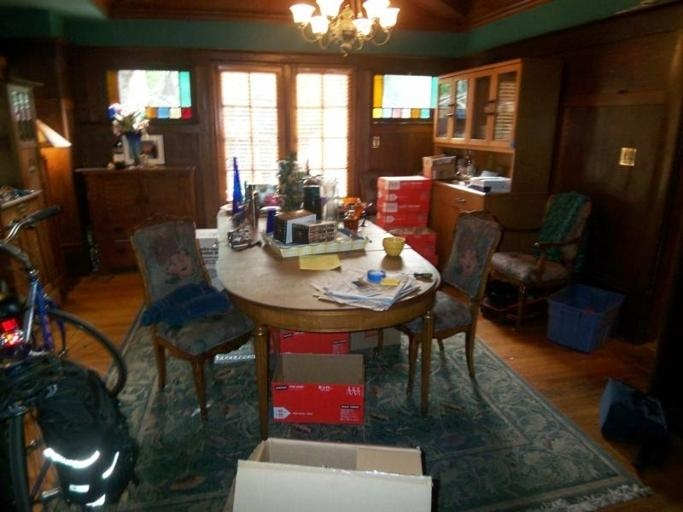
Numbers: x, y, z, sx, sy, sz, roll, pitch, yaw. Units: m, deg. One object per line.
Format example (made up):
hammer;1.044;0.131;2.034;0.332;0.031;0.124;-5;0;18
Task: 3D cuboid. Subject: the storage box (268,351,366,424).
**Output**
storage box;-0.146;0.888;3.432;0.671;0.321;0.444;1;18;1

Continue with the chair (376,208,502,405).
chair;0.729;0.272;3.865;0.810;1.209;0.756;-1;15;-8

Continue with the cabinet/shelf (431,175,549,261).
cabinet/shelf;1.474;-0.377;4.942;0.431;0.766;0.823;-2;16;-11

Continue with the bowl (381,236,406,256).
bowl;0.386;-0.079;3.794;0.144;0.102;0.145;0;6;0

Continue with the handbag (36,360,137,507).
handbag;-1.326;0.914;2.633;0.483;0.676;0.214;-22;15;-35

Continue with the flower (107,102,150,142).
flower;-2.389;-1.529;5.798;0.351;0.389;0.455;-9;17;-26

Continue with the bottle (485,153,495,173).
bottle;1.684;-1.083;5.835;0.071;0.192;0.193;3;16;12

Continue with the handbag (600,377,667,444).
handbag;1.844;1.001;3.284;0.313;0.327;0.377;5;-15;-19

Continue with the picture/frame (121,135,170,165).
picture/frame;-2.261;-1.231;5.889;0.404;0.340;0.029;-2;8;-24

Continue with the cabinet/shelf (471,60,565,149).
cabinet/shelf;1.767;-1.496;5.067;0.425;0.798;0.815;-5;17;-13
